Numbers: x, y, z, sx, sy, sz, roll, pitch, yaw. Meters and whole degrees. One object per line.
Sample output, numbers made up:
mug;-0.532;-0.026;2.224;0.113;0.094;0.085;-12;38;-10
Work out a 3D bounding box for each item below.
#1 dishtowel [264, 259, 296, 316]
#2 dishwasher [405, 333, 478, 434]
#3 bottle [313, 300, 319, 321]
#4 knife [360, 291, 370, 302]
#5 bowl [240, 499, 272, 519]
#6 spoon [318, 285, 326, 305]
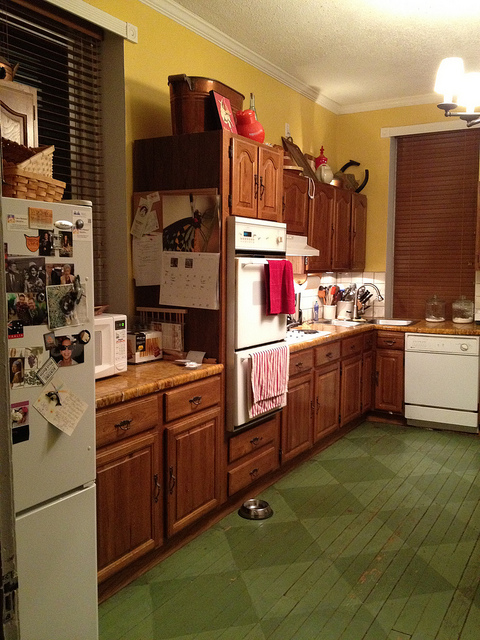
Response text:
dishtowel;0.230;-0.187;2.657;0.056;0.313;0.251;5;9;44
dishwasher;1.773;0.514;4.028;0.587;0.788;0.124;4;8;38
bottle;0.765;-0.089;4.571;0.042;0.183;0.186;1;7;16
knife;1.306;-0.242;4.774;0.021;0.065;0.095;29;49;3
bowl;0.093;1.074;2.613;0.184;0.043;0.244;-1;8;3
spoon;0.844;-0.252;4.673;0.068;0.198;0.133;1;7;16
